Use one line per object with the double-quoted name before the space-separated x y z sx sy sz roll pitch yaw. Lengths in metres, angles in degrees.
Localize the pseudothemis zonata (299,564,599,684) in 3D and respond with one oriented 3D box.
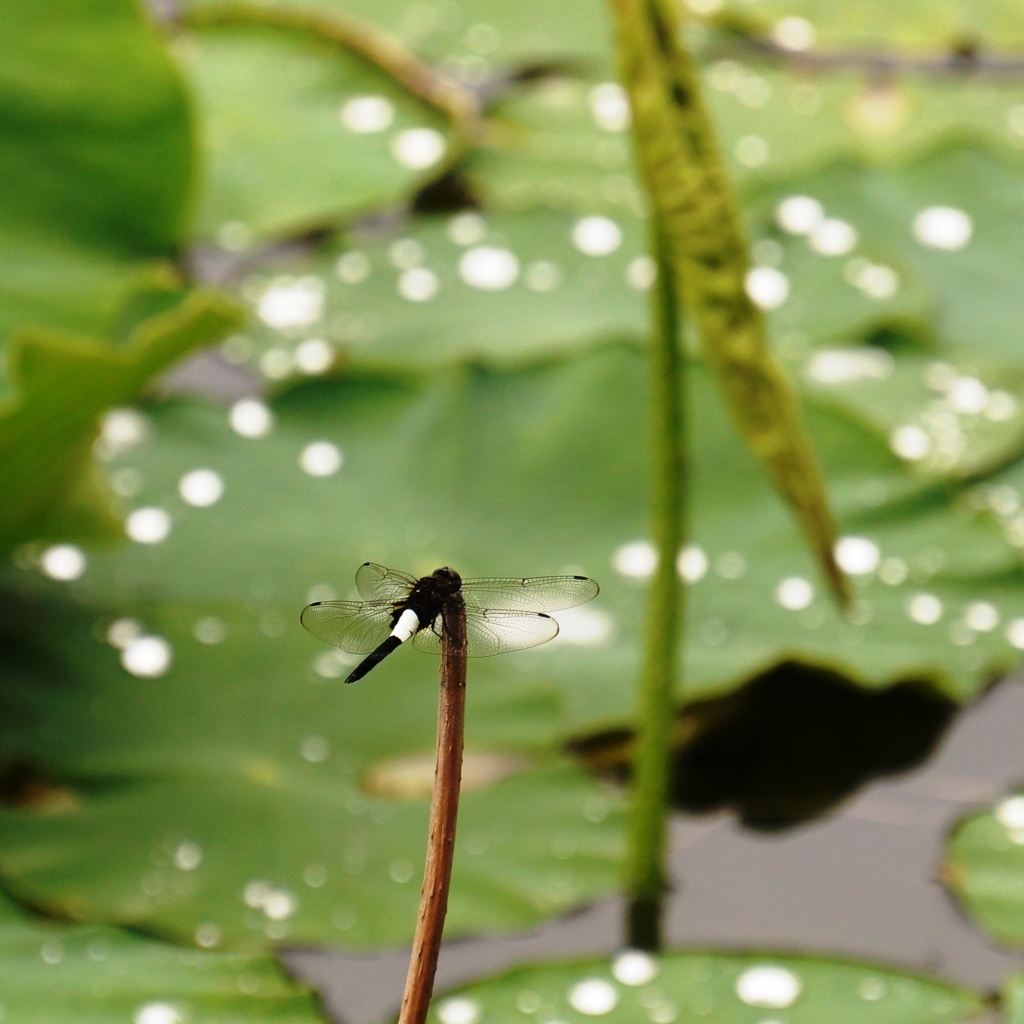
"pseudothemis zonata" -0.029 0.030 0.363 0.083 0.020 0.049 3 15 33
